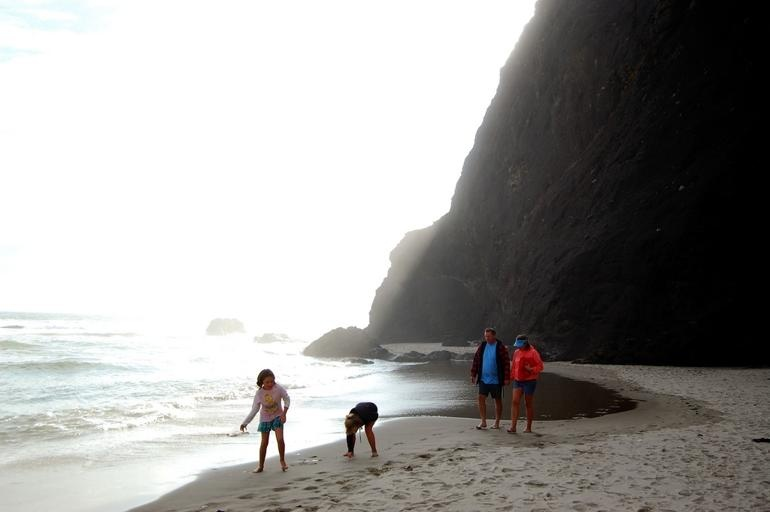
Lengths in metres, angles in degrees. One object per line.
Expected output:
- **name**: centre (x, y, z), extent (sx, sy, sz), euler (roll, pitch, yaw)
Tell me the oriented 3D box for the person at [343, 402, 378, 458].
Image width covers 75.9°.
- **person**: centre (-0.493, 4.081, 11.748), extent (0.852, 1.094, 2.380), euler (-7, -13, 7)
